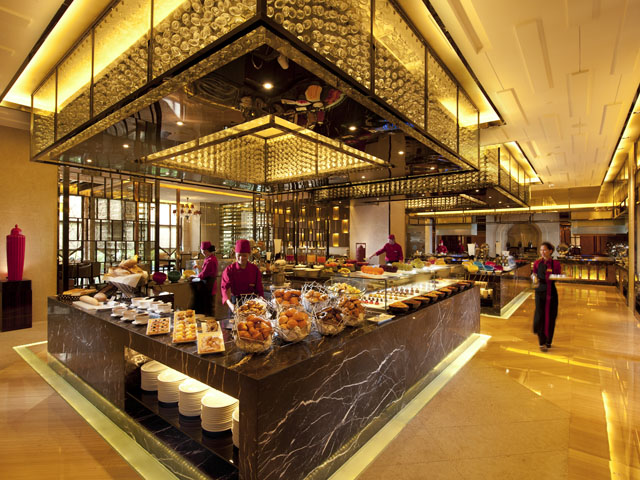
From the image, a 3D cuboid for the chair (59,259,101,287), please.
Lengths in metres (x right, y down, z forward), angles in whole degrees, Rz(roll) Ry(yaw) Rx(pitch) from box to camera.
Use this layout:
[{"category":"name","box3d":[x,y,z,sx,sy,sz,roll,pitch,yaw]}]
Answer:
[{"category":"chair","box3d":[-4.891,0.672,8.744,0.589,0.697,0.528,1,-1,19]}]

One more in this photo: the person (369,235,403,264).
[{"category":"person","box3d":[1.769,0.256,11.285,0.732,1.222,0.444,-2,-9,42]}]

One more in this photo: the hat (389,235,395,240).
[{"category":"hat","box3d":[1.722,-0.061,10.221,0.108,0.136,0.148,-1,-11,14]}]

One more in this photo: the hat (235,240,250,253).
[{"category":"hat","box3d":[-1.029,0.090,5.731,0.175,0.200,0.200,-2,11,-13]}]

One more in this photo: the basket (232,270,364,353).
[{"category":"basket","box3d":[-0.225,0.635,4.294,0.675,0.213,1.062,11,12,40]}]

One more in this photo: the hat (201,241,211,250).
[{"category":"hat","box3d":[-1.893,0.103,7.188,0.181,0.175,0.138,-8,13,-25]}]

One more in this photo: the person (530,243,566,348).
[{"category":"person","box3d":[3.861,0.943,7.341,0.450,1.734,1.144,6,12,28]}]

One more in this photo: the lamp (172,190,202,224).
[{"category":"lamp","box3d":[-5.027,-1.282,16.135,1.032,1.445,1.105,-3,-6,30]}]
